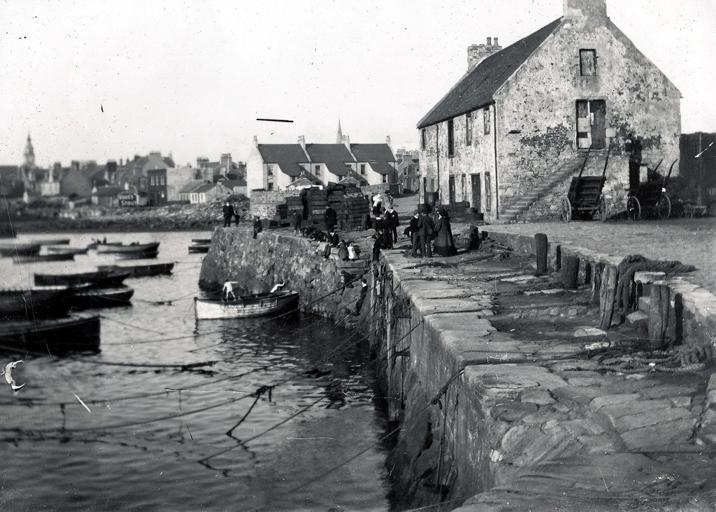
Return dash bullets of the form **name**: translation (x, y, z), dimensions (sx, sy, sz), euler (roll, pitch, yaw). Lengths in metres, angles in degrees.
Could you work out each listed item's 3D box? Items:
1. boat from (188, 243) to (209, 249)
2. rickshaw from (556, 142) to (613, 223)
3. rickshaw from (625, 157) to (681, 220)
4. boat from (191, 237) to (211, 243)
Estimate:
- **boat**: translation (-13.521, -0.869, 72.076), dimensions (1.662, 0.263, 0.986), euler (0, 13, 11)
- **rickshaw**: translation (10.055, -3.133, 37.540), dimensions (2.101, 2.974, 4.375), euler (1, 12, 17)
- **rickshaw**: translation (13.279, -2.869, 38.607), dimensions (1.785, 2.185, 3.622), euler (4, 14, 28)
- **boat**: translation (-13.661, -1.419, 73.821), dimensions (1.404, 0.275, 2.649), euler (-5, 13, -10)
